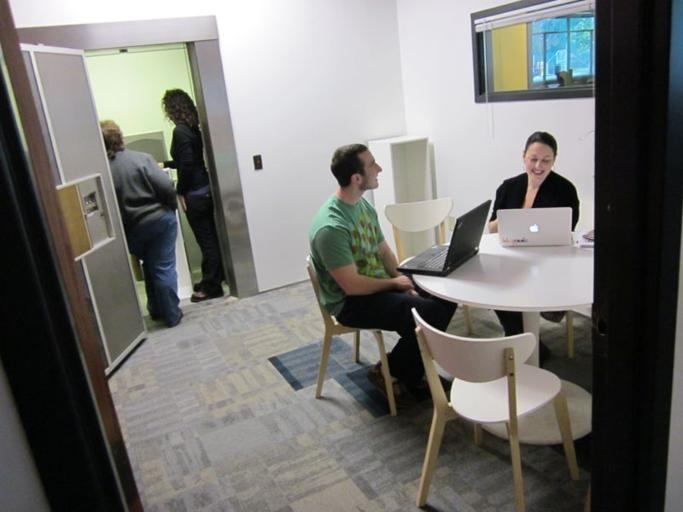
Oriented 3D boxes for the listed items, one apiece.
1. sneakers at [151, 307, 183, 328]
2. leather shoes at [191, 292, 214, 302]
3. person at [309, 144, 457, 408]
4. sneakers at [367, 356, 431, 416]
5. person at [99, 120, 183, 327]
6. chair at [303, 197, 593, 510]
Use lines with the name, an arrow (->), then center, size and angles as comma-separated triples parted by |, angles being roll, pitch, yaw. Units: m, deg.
sneakers -> -1.540, 0.516, 4.283 | 0.230, 0.137, 0.169 | 0, 6, 40
leather shoes -> -1.347, 0.397, 4.671 | 0.201, 0.089, 0.081 | 5, 3, -36
person -> 0.267, 0.112, 2.935 | 0.748, 1.559, 0.607 | -2, 16, 17
sneakers -> 0.328, 0.776, 2.915 | 0.235, 0.126, 0.315 | -10, 27, -29
person -> -1.587, -0.241, 4.029 | 0.453, 1.722, 0.234 | -11, 18, -20
chair -> 0.558, 0.421, 2.345 | 1.279, 1.137, 1.003 | 2, 19, 23
